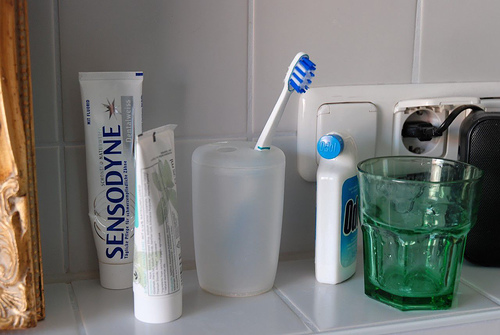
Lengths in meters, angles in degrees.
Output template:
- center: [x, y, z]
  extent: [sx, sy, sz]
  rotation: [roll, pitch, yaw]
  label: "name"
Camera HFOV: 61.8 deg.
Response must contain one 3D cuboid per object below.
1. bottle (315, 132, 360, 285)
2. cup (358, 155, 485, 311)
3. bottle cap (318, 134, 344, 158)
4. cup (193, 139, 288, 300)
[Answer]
- center: [0.141, 0.052, 0.664]
  extent: [0.066, 0.224, 0.135]
  rotation: [3, 13, 15]
  label: "bottle"
- center: [0.238, 0.089, 0.618]
  extent: [0.177, 0.200, 0.177]
  rotation: [-1, 10, 0]
  label: "cup"
- center: [0.118, -0.031, 0.603]
  extent: [0.033, 0.033, 0.011]
  rotation: [3, 3, 40]
  label: "bottle cap"
- center: [-0.016, 0.071, 0.609]
  extent: [0.128, 0.214, 0.098]
  rotation: [1, 13, 3]
  label: "cup"
